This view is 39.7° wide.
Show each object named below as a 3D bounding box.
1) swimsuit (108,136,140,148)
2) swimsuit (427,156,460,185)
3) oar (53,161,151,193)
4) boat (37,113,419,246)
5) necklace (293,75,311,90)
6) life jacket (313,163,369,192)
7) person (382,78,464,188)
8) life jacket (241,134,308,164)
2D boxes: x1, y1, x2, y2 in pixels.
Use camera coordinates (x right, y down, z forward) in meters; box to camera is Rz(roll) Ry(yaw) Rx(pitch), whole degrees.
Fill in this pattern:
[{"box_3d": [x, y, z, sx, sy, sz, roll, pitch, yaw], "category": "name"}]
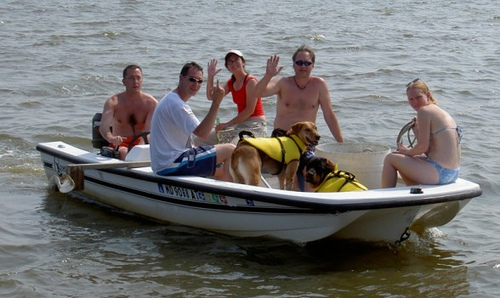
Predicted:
[{"box_3d": [-2.326, -0.166, 13.041, 0.405, 0.122, 0.258, -4, 15, -2], "category": "swimsuit"}, {"box_3d": [3.301, 0.362, 11.719, 0.578, 0.238, 0.442, 19, 8, 31], "category": "swimsuit"}, {"box_3d": [-2.618, 0.443, 12.458, 1.876, 0.399, 0.456, -7, 12, -37], "category": "oar"}, {"box_3d": [-0.453, 0.603, 12.082, 8.770, 2.140, 2.977, -2, 1, 13], "category": "boat"}, {"box_3d": [0.954, -1.249, 12.887, 0.252, 0.253, 0.015, 0, 4, 7], "category": "necklace"}, {"box_3d": [1.503, 0.507, 11.587, 1.625, 0.552, 0.370, 0, 1, 5], "category": "life jacket"}, {"box_3d": [3.014, -0.166, 11.786, 1.203, 1.892, 0.947, 10, 24, 13], "category": "person"}, {"box_3d": [0.524, -0.044, 11.845, 1.365, 0.507, 0.397, 8, -15, -17], "category": "life jacket"}]
